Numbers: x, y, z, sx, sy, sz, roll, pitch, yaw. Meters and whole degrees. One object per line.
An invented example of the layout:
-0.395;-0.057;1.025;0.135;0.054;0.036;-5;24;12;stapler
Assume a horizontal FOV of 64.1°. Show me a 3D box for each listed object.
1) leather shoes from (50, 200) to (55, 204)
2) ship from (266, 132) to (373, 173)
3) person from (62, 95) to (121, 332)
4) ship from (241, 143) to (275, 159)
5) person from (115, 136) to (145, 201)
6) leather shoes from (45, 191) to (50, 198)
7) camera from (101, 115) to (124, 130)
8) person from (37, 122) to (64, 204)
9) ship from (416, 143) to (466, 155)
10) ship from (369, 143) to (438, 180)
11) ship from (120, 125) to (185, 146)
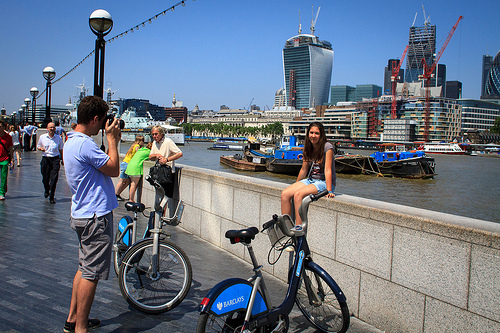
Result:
-5.247;0.925;10.589;0.154;0.074;0.058;-5;2;39;leather shoes
8.044;-0.546;44.463;10.602;4.962;5.271;3;-1;-1;ship
-1.863;0.576;4.653;0.705;2.762;0.505;-2;8;-20;person
0.719;-1.967;54.461;1.883;1.822;3.923;2;8;-30;ship
-3.321;0.029;11.078;0.551;1.853;0.521;13;11;-22;person
-5.624;0.782;11.027;0.102;0.227;0.254;-4;8;-27;leather shoes
-1.676;-0.556;4.896;0.231;0.146;0.223;6;1;-21;camera
-5.475;-0.147;10.966;0.626;2.111;1.305;-4;8;-27;person
49.373;-4.566;102.761;7.275;1.991;5.666;0;0;14;ship
17.227;-0.618;45.746;6.691;3.201;3.553;1;2;38;ship
-27.403;-8.679;110.871;23.466;5.759;4.962;2;-4;30;ship
